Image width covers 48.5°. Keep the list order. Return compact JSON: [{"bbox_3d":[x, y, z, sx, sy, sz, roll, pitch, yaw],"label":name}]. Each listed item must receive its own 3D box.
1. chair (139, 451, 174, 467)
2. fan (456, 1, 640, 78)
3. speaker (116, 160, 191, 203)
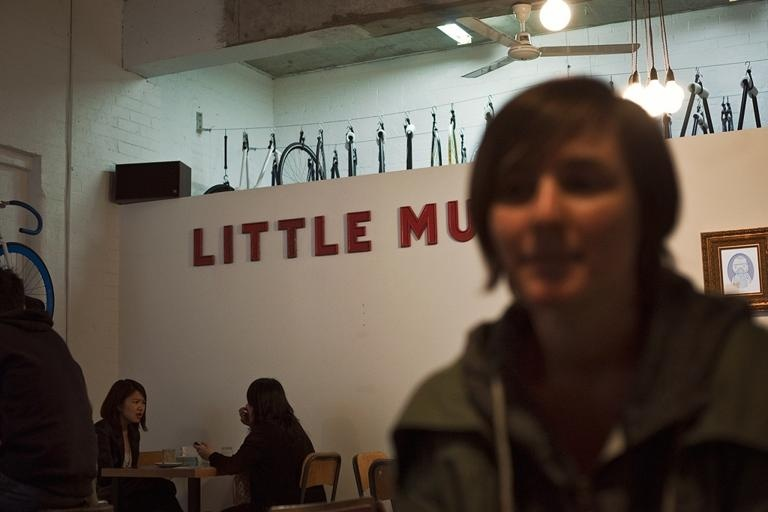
[{"bbox_3d":[-1.562,1.402,5.853,0.163,0.129,0.175,-1,-8,12],"label":"chair"},{"bbox_3d":[1.155,-1.632,6.758,0.936,0.372,0.988,2,0,-7],"label":"fan"},{"bbox_3d":[-2.078,-0.624,7.581,0.643,0.366,0.326,-3,-2,9],"label":"speaker"}]
